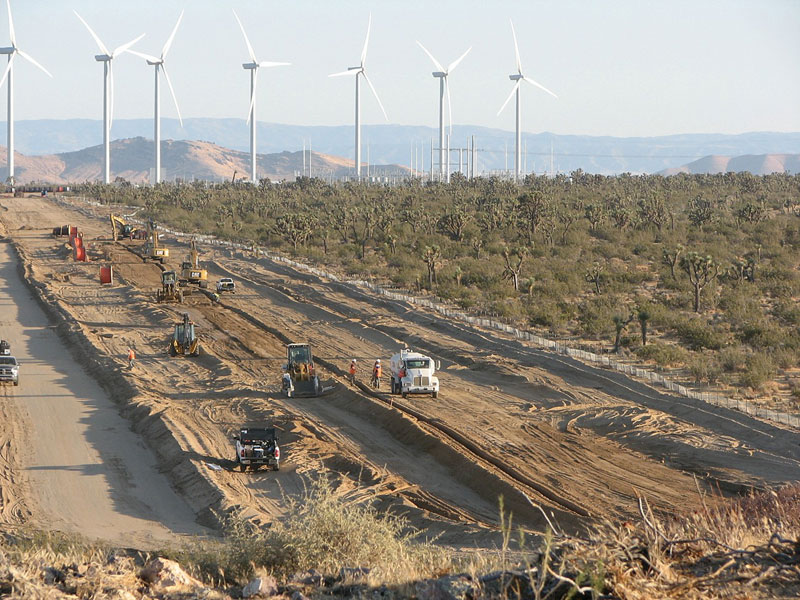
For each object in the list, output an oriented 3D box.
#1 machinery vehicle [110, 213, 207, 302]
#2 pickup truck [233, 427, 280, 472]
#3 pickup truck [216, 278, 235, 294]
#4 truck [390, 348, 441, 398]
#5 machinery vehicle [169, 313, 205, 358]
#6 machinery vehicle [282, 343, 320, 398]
[{"bbox_3d":[-23.491,-4.912,109.903,8.025,5.710,49.068,1,5,-14],"label":"machinery vehicle"},{"bbox_3d":[-7.088,7.133,56.538,1.373,1.322,2.571,1,13,-8],"label":"pickup truck"},{"bbox_3d":[-13.861,-1.234,90.941,1.178,1.061,2.246,-1,1,-11],"label":"pickup truck"},{"bbox_3d":[0.761,3.936,64.999,2.572,2.573,2.078,-4,7,-14],"label":"truck"},{"bbox_3d":[-14.328,2.166,75.735,1.917,3.108,5.997,0,-3,-11],"label":"machinery vehicle"},{"bbox_3d":[-5.638,3.890,65.765,2.112,2.813,2.296,1,4,-7],"label":"machinery vehicle"}]
